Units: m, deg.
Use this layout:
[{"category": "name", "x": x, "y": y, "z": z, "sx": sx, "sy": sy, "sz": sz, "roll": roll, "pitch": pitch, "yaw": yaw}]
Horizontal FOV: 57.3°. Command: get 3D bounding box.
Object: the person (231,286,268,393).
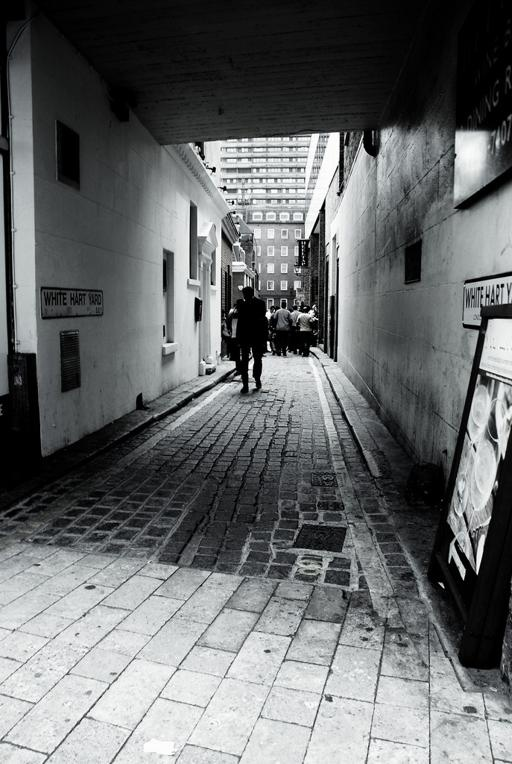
[{"category": "person", "x": -0.082, "y": -1.162, "z": 10.920, "sx": 0.453, "sy": 2.555, "sz": 0.587, "roll": 1, "pitch": 35, "yaw": 2}]
